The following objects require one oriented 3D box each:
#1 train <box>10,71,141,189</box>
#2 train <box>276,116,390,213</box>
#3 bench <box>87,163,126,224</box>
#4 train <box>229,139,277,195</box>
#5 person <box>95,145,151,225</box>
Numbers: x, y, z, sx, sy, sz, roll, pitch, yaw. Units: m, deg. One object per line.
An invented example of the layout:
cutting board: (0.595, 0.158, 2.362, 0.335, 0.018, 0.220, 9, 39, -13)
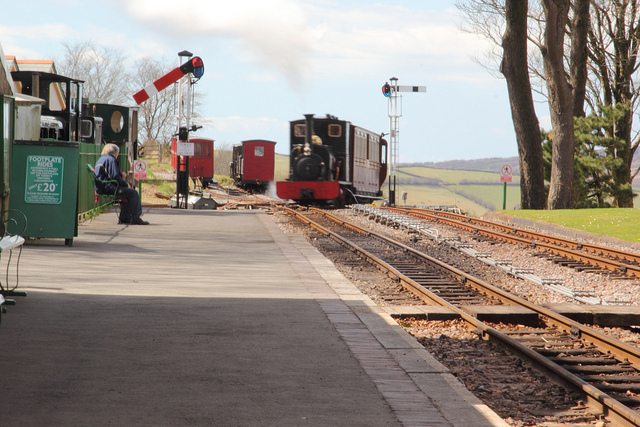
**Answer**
train: (-8.278, -2.689, 24.217, 2.137, 4.070, 7.240, -15, 0, 7)
train: (1.253, -2.574, 36.550, 3.902, 5.122, 12.022, 2, 1, 19)
bench: (-5.316, -0.495, 17.339, 0.983, 1.359, 0.918, 4, 2, -15)
train: (-4.919, -4.011, 56.846, 2.763, 4.393, 10.382, 1, 5, -9)
person: (-5.151, -0.769, 17.668, 1.329, 2.426, 1.036, -2, -1, 26)
